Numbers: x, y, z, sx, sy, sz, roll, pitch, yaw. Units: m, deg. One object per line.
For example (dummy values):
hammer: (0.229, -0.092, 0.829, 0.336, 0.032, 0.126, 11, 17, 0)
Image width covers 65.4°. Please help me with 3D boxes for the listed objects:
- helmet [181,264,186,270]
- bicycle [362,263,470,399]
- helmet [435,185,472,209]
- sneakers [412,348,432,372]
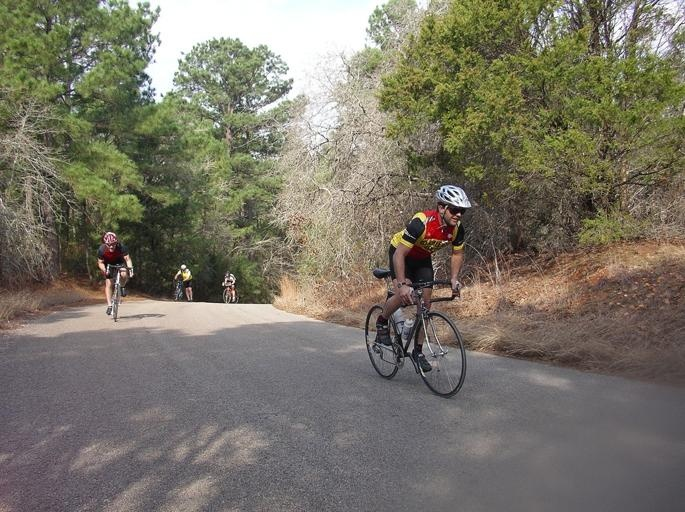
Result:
helmet: (-8.896, 0.676, 29.780, 0.276, 0.358, 0.367, 0, -3, -3)
bicycle: (1.007, 1.062, 7.606, 1.146, 1.629, 1.997, 0, 5, 1)
helmet: (1.439, -0.788, 7.084, 0.270, 0.188, 0.415, -2, 15, -22)
sneakers: (1.080, 1.447, 7.237, 0.079, 0.262, 0.335, -3, 6, -34)
